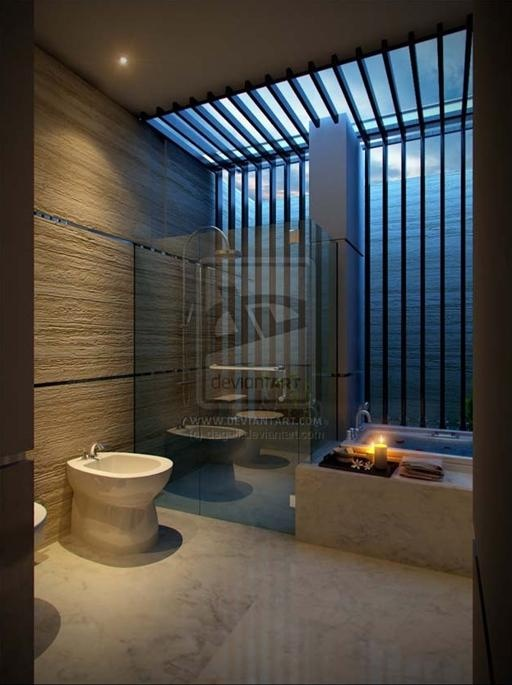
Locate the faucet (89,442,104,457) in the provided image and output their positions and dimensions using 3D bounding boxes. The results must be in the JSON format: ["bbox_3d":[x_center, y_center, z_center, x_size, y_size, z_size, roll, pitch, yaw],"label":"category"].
[{"bbox_3d":[-0.900,0.608,2.626,0.082,0.094,0.042,-3,-2,32],"label":"faucet"}]

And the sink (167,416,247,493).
[{"bbox_3d":[-0.266,0.699,2.950,0.466,0.409,0.338,1,0,26],"label":"sink"}]

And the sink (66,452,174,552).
[{"bbox_3d":[-0.699,0.828,2.522,0.510,0.454,0.396,1,-1,22],"label":"sink"}]

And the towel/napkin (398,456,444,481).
[{"bbox_3d":[0.829,0.639,2.365,0.211,0.060,0.201,0,-1,17],"label":"towel/napkin"}]

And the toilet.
[{"bbox_3d":[-0.033,0.487,2.742,0.390,0.302,0.276,1,1,27],"label":"toilet"}]
